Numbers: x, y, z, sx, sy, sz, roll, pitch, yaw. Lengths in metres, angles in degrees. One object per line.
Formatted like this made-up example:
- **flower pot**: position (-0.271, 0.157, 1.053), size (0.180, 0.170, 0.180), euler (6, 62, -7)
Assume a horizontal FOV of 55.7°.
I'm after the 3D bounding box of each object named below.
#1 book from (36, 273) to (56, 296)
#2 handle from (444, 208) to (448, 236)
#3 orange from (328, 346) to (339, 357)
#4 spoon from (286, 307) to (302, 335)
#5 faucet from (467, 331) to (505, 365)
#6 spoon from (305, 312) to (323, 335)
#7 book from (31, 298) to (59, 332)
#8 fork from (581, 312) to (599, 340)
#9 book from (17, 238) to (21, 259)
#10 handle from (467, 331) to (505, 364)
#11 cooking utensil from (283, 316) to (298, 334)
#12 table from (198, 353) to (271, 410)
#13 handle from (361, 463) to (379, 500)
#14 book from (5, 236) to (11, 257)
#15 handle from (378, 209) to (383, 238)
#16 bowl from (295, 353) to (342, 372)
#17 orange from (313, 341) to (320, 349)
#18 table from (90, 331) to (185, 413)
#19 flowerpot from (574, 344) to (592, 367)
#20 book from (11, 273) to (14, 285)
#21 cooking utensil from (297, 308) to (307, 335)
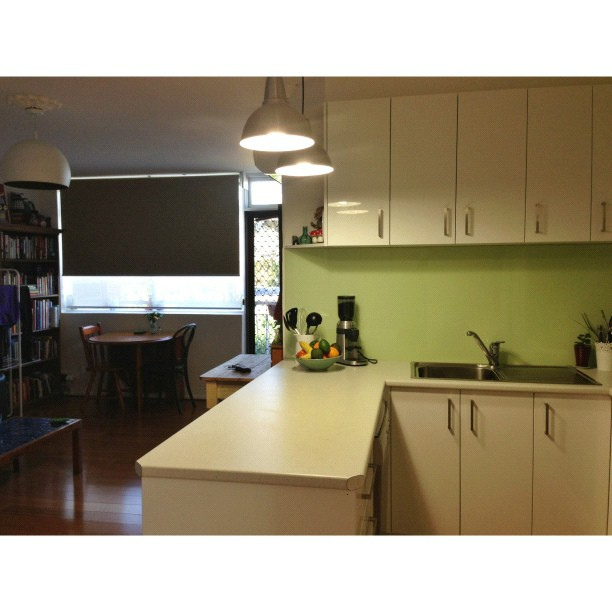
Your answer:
- **book**: position (-2.788, -0.226, 6.180), size (0.165, 0.259, 0.244), euler (0, 3, -3)
- **handle**: position (0.714, -0.428, 2.960), size (0.020, 0.136, 0.008), euler (-2, 4, 17)
- **orange**: position (0.141, 0.239, 2.988), size (0.037, 0.052, 0.040), euler (-1, 0, 1)
- **spoon**: position (-0.080, 0.068, 3.340), size (0.052, 0.193, 0.031), euler (-25, -8, 40)
- **faucet**: position (0.963, 0.224, 3.089), size (0.195, 0.213, 0.246), euler (-2, 5, 18)
- **spoon**: position (0.045, 0.097, 3.326), size (0.100, 0.115, 0.133), euler (-4, 5, 2)
- **book**: position (-2.771, 0.096, 6.118), size (0.212, 0.344, 0.330), euler (0, 0, 2)
- **fork**: position (1.513, 0.103, 3.062), size (0.029, 0.114, 0.005), euler (-15, -19, -14)
- **book**: position (-2.876, -0.569, 5.759), size (0.021, 0.202, 0.068), euler (-4, 4, -8)
- **handle**: position (0.992, 0.221, 3.159), size (0.288, 0.187, 0.069), euler (25, -13, -31)
- **cooking utensil**: position (-0.097, 0.112, 3.361), size (0.024, 0.152, 0.024), euler (-23, 15, -17)
- **table**: position (-0.432, 0.439, 3.510), size (0.241, 0.151, 0.610), euler (2, 8, 8)
- **handle**: position (0.220, 0.589, 1.959), size (0.030, 0.143, 0.126), euler (1, -7, 18)
- **book**: position (-2.892, -0.571, 5.581), size (0.019, 0.200, 0.076), euler (-3, 4, 6)
- **handle**: position (0.387, -0.431, 3.024), size (0.024, 0.146, 0.013), euler (-3, 4, 8)
- **bowl**: position (0.050, 0.294, 3.029), size (0.203, 0.091, 0.225), euler (-4, 5, -2)
- **orange**: position (0.054, 0.204, 3.048), size (0.024, 0.034, 0.027), euler (4, 3, 2)
- **table**: position (-1.702, 0.574, 5.853), size (0.540, 0.708, 1.012), euler (7, 5, 25)
- **flowerpot**: position (1.441, 0.250, 3.025), size (0.095, 0.126, 0.098), euler (1, 1, 26)
- **book**: position (-2.807, -0.268, 5.506), size (0.027, 0.093, 0.213), euler (-5, 5, -27)
- **cooking utensil**: position (-0.035, 0.088, 3.304), size (0.028, 0.155, 0.021), euler (1, -5, 14)
